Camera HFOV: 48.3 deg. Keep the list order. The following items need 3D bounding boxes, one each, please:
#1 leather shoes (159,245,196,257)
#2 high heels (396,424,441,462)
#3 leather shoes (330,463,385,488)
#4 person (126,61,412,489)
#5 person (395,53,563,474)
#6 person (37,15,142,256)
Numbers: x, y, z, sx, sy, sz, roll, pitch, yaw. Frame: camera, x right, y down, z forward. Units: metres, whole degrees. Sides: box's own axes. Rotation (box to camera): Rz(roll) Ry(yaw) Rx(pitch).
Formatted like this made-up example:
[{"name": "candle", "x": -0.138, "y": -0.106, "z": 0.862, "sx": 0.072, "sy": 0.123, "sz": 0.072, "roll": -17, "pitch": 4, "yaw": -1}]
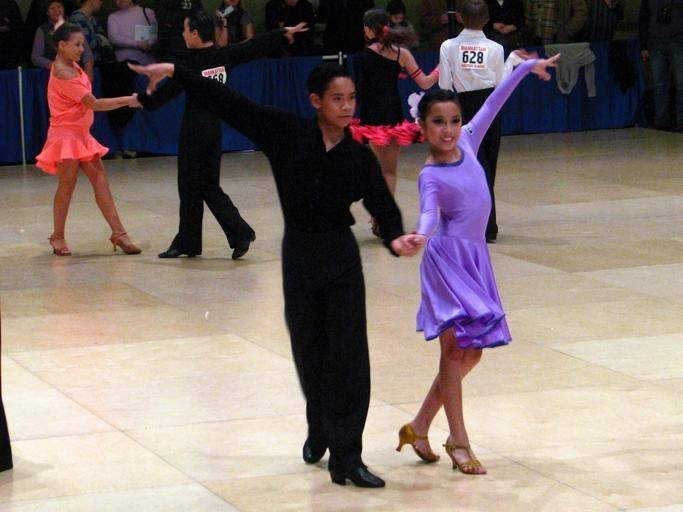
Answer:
[{"name": "leather shoes", "x": -1.820, "y": -0.035, "z": 8.223, "sx": 0.457, "sy": 0.155, "sz": 0.138, "roll": 4, "pitch": 0, "yaw": -5}, {"name": "high heels", "x": 0.408, "y": 0.950, "z": 3.837, "sx": 0.281, "sy": 0.132, "sz": 0.089, "roll": 25, "pitch": -17, "yaw": -19}, {"name": "leather shoes", "x": 0.070, "y": 1.017, "z": 3.561, "sx": 0.305, "sy": 0.104, "sz": 0.103, "roll": 1, "pitch": 0, "yaw": 11}, {"name": "person", "x": -0.172, "y": 0.110, "z": 3.555, "sx": 0.839, "sy": 1.927, "sz": 0.527, "roll": 3, "pitch": 17, "yaw": 14}, {"name": "person", "x": 0.600, "y": 0.095, "z": 3.892, "sx": 0.566, "sy": 1.845, "sz": 1.047, "roll": 2, "pitch": 16, "yaw": 12}, {"name": "person", "x": -2.857, "y": -1.219, "z": 8.204, "sx": 1.183, "sy": 2.467, "sz": 0.588, "roll": 4, "pitch": 17, "yaw": 19}]
